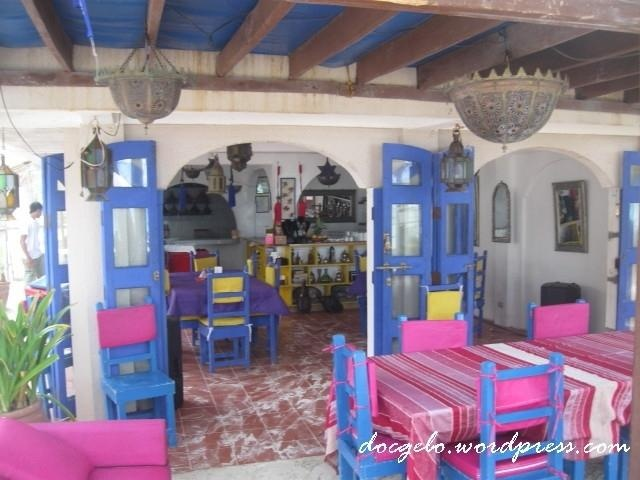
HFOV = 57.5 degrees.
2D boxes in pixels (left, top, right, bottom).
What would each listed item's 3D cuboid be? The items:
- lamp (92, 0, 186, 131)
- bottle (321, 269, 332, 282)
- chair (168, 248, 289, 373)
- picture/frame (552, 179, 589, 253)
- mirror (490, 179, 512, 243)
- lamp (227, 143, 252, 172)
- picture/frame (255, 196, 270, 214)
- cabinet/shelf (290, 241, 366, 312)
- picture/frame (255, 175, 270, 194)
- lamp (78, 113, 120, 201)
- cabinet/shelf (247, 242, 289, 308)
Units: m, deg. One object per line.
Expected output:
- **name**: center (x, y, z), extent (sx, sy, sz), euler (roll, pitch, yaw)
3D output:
- **lamp**: center (-1.320, -1.174, 4.051), extent (0.705, 0.882, 0.687), euler (-6, 10, -31)
- **bottle**: center (0.103, 0.576, 9.575), extent (0.179, 0.183, 0.181), euler (-4, 6, -42)
- **chair**: center (-1.146, 0.795, 6.913), extent (1.108, 0.743, 1.541), euler (1, 1, -20)
- **picture/frame**: center (3.263, -0.310, 7.541), extent (0.119, 0.931, 0.548), euler (-6, 10, -26)
- **mirror**: center (2.612, -0.397, 8.336), extent (0.153, 0.856, 0.384), euler (-6, 10, -26)
- **lamp**: center (-1.044, -1.081, 7.802), extent (0.366, 0.412, 0.360), euler (0, 1, -21)
- **picture/frame**: center (-1.297, -0.799, 13.058), extent (0.335, 0.469, 0.460), euler (0, 2, -9)
- **cabinet/shelf**: center (0.093, 0.612, 9.420), extent (1.174, 0.812, 0.308), euler (0, -2, -24)
- **picture/frame**: center (-1.266, -1.219, 12.860), extent (0.361, 0.390, 0.097), euler (4, 10, 32)
- **lamp**: center (-1.792, -0.691, 4.775), extent (0.366, 0.705, 1.201), euler (-4, 10, -19)
- **cabinet/shelf**: center (-0.710, 0.490, 8.247), extent (0.313, 0.880, 0.968), euler (-4, 8, -31)
